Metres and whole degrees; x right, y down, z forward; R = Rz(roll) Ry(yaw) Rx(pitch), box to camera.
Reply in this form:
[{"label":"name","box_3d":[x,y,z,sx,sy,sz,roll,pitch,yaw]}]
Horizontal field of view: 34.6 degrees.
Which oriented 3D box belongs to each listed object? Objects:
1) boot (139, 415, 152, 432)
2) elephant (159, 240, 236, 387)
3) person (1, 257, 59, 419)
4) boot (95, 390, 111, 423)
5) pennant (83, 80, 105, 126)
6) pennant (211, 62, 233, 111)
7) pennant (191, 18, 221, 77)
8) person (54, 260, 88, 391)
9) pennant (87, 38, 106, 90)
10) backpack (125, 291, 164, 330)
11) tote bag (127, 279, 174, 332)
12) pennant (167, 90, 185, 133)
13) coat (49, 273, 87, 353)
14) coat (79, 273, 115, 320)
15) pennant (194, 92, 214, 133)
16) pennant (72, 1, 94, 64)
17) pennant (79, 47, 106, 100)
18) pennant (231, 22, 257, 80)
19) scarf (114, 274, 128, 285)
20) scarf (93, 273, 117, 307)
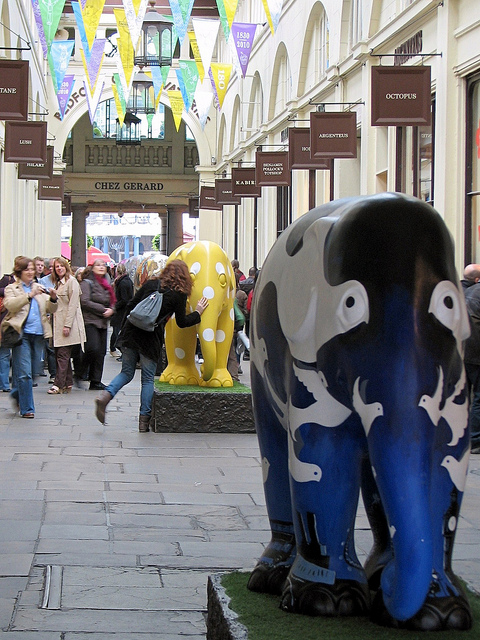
[{"label":"boot","box_3d":[-0.976,1.057,7.873,0.058,0.176,0.210,3,9,4]},{"label":"elephant","box_3d":[-0.493,-0.084,9.161,0.611,1.819,1.881,-1,1,-13]},{"label":"person","box_3d":[-2.536,0.172,9.392,0.487,1.243,2.454,1,0,-11]},{"label":"boot","box_3d":[-1.382,0.924,7.765,0.092,0.396,0.220,1,13,18]},{"label":"pennant","box_3d":[-4.694,-7.204,24.633,0.921,0.045,2.358,19,-25,-3]},{"label":"pennant","box_3d":[-0.567,-7.159,23.747,0.833,2.099,0.168,2,-35,-3]},{"label":"pennant","box_3d":[-0.942,-7.436,21.388,0.891,2.458,0.074,4,-30,-10]},{"label":"person","box_3d":[-2.388,0.088,10.886,0.469,1.307,0.957,1,0,-12]},{"label":"pennant","box_3d":[-4.043,-6.871,20.953,0.737,0.047,2.682,-4,-12,-9]},{"label":"backpack","box_3d":[-0.905,-0.080,7.482,0.237,0.399,0.130,24,-8,14]},{"label":"tote bag","box_3d":[-0.906,-0.187,7.545,0.280,0.562,0.262,17,13,7]},{"label":"pennant","box_3d":[-2.376,-7.657,28.582,0.636,1.861,0.624,-7,-27,1]},{"label":"coat","box_3d":[-2.409,-0.051,10.699,0.453,1.211,0.441,-12,-13,40]},{"label":"coat","box_3d":[-2.149,-0.259,11.269,0.403,0.864,0.539,-5,-6,27]},{"label":"pennant","box_3d":[-1.345,-8.475,30.491,0.651,1.779,0.016,0,-26,29]},{"label":"pennant","box_3d":[-3.765,-6.777,18.385,0.754,2.463,0.035,-34,-52,30]},{"label":"pennant","box_3d":[-4.077,-6.651,21.277,0.653,0.027,1.704,-2,-35,-14]},{"label":"pennant","box_3d":[-0.036,-6.985,20.167,0.825,0.035,1.817,8,-30,21]},{"label":"scarf","box_3d":[-2.111,-0.701,13.743,0.130,0.218,0.078,2,6,11]},{"label":"scarf","box_3d":[-2.007,-0.447,11.578,0.266,0.505,0.184,-2,4,-22]}]
